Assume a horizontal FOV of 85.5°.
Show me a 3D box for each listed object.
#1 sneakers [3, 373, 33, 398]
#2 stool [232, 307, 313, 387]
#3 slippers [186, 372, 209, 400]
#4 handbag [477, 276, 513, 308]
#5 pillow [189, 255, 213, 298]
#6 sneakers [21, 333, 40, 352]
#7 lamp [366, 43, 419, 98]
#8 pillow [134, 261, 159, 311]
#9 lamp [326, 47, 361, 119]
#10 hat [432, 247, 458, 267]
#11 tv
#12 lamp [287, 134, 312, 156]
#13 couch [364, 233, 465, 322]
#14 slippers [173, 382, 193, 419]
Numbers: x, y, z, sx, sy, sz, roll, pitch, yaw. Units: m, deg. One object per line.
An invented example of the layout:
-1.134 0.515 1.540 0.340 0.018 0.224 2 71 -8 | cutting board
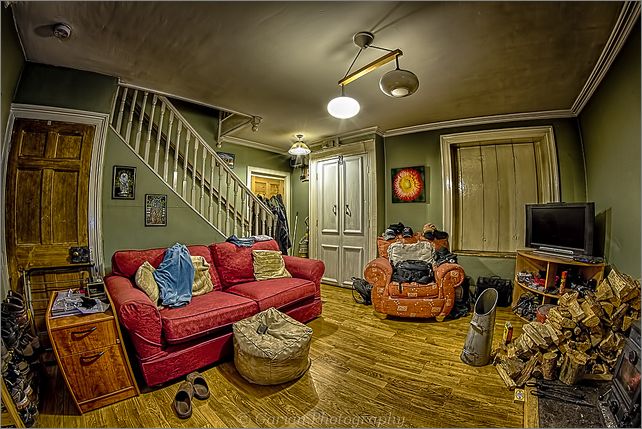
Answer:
-2.829 1.575 3.259 0.147 0.055 0.209 14 -6 0 | sneakers
-0.548 1.402 3.723 0.663 0.400 0.680 5 9 40 | stool
-1.254 1.745 3.574 0.146 0.092 0.277 -7 23 -37 | slippers
2.394 1.062 4.784 0.458 0.436 0.227 0 -15 33 | handbag
-1.474 0.736 4.271 0.114 0.392 0.385 -10 -3 29 | pillow
-2.973 1.292 3.544 0.136 0.061 0.181 7 11 -40 | sneakers
0.906 -1.667 4.058 0.410 0.386 0.555 -1 0 40 | lamp
-1.953 0.773 3.896 0.230 0.535 0.382 -2 0 -29 | pillow
0.309 -1.567 4.515 0.397 0.601 0.980 -1 0 5 | lamp
1.781 0.608 5.032 0.299 0.117 0.224 -2 -1 -31 | hat
3.210 0.208 4.633 0.280 0.681 0.773 2 -3 -32 | tv
-0.375 -1.246 6.062 0.404 0.311 0.400 6 -12 -29 | lamp
1.275 0.867 4.839 1.079 1.022 0.922 -2 -14 11 | couch
-1.365 1.833 3.445 0.185 0.321 0.273 -2 0 -23 | slippers
